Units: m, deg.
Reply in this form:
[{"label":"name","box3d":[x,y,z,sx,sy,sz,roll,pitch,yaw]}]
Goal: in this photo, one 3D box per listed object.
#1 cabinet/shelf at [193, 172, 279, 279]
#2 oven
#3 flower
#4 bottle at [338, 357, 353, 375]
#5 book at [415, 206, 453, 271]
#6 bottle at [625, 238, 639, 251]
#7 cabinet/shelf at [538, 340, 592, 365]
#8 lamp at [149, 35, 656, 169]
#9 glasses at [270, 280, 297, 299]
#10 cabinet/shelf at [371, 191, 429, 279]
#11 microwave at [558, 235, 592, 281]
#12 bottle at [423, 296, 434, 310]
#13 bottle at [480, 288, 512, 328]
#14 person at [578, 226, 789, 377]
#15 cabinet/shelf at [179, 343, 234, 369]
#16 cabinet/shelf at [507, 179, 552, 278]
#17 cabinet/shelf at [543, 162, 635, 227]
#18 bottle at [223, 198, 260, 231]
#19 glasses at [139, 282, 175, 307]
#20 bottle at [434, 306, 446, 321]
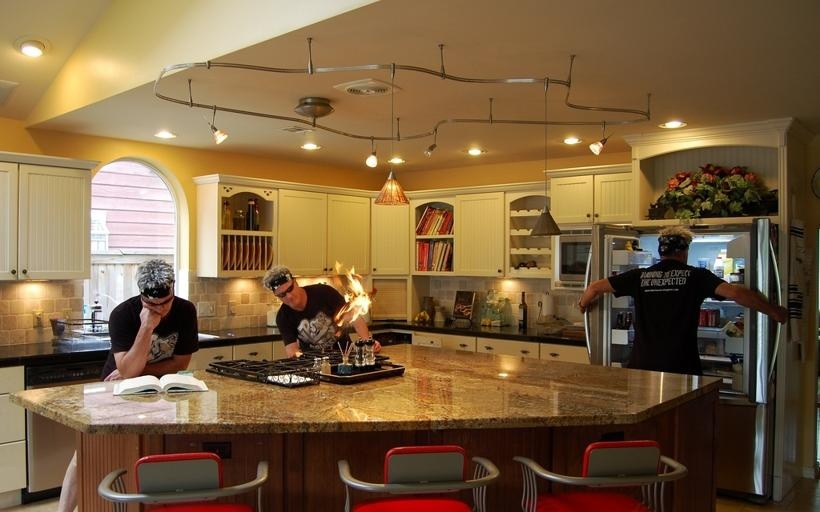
[{"label":"cabinet/shelf","box3d":[-1.989,-0.314,6.888,0.571,1.363,1.202,-6,-7,42]},{"label":"oven","box3d":[-3.110,1.665,5.754,0.648,1.070,0.578,-5,-1,-4]},{"label":"flower","box3d":[2.892,-0.587,5.883,1.093,0.534,0.435,5,10,20]},{"label":"bottle","box3d":[-0.477,0.773,4.403,0.108,0.142,0.105,-1,-8,0]},{"label":"book","box3d":[0.293,-0.230,8.001,0.442,0.863,0.605,-1,10,-13]},{"label":"bottle","box3d":[2.229,-0.115,6.151,0.142,0.136,0.101,6,-8,-33]},{"label":"cabinet/shelf","box3d":[1.632,1.041,6.607,0.502,0.301,0.329,1,0,28]},{"label":"lamp","box3d":[-0.135,-1.288,5.097,2.301,0.453,1.687,-1,-2,30]},{"label":"glasses","box3d":[-1.037,0.262,5.053,0.163,0.165,0.056,-34,-14,12]},{"label":"cabinet/shelf","box3d":[-0.059,-0.312,8.377,0.866,1.110,0.877,-8,5,-41]},{"label":"microwave","box3d":[1.887,0.028,6.738,0.410,0.522,0.438,5,-3,-40]},{"label":"bottle","box3d":[0.244,0.606,8.155,0.163,0.162,0.153,-2,-8,24]},{"label":"bottle","box3d":[1.079,0.648,7.700,0.405,0.400,0.530,3,9,7]},{"label":"person","box3d":[2.478,0.426,5.432,1.430,1.535,0.478,2,4,31]},{"label":"cabinet/shelf","box3d":[-2.042,0.926,6.250,0.222,0.247,0.407,-3,-2,42]},{"label":"cabinet/shelf","box3d":[1.456,-0.263,7.393,0.583,0.999,0.313,3,16,18]},{"label":"cabinet/shelf","box3d":[2.043,-0.683,6.855,0.940,0.640,0.319,-1,25,16]},{"label":"bottle","box3d":[-1.928,-0.475,7.066,0.398,0.467,0.348,-3,-5,29]},{"label":"glasses","box3d":[-1.815,0.272,4.410,0.221,0.171,0.166,-3,10,-26]},{"label":"bottle","box3d":[0.389,0.747,7.973,0.165,0.188,0.161,2,-4,-35]}]
